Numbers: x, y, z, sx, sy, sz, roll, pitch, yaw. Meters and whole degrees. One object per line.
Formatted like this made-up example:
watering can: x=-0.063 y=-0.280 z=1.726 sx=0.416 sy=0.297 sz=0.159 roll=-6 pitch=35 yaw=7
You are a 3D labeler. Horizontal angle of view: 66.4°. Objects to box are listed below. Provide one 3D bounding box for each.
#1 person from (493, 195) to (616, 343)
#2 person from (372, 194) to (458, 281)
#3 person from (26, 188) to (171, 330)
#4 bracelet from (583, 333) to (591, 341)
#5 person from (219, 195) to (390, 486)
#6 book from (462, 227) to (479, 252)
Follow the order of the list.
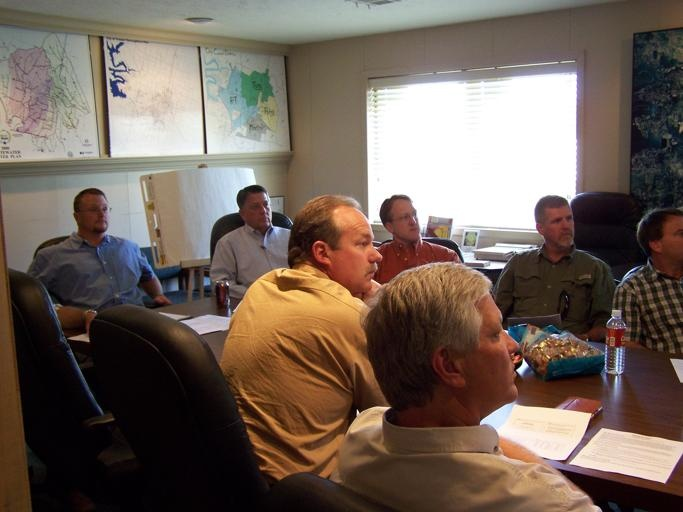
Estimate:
person: x=1.223 y=0.128 z=3.056 sx=0.684 sy=0.908 sz=0.538 roll=2 pitch=1 yaw=34
person: x=0.452 y=-0.116 z=3.633 sx=0.766 sy=0.613 sz=0.383 roll=-6 pitch=3 yaw=1
person: x=-1.715 y=-0.007 z=3.609 sx=0.591 sy=1.068 sz=0.895 roll=-10 pitch=-1 yaw=34
bracelet: x=1.241 y=0.410 z=2.638 sx=0.036 sy=0.042 sz=0.047 roll=-1 pitch=-7 yaw=0
person: x=-0.080 y=0.340 z=1.744 sx=0.561 sy=1.029 sz=0.480 roll=-7 pitch=18 yaw=-42
book: x=1.239 y=-0.151 z=5.028 sx=0.204 sy=0.290 sz=0.029 roll=6 pitch=-13 yaw=29
